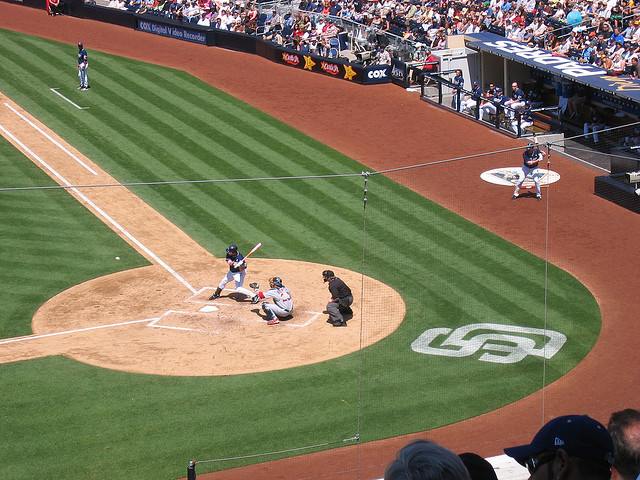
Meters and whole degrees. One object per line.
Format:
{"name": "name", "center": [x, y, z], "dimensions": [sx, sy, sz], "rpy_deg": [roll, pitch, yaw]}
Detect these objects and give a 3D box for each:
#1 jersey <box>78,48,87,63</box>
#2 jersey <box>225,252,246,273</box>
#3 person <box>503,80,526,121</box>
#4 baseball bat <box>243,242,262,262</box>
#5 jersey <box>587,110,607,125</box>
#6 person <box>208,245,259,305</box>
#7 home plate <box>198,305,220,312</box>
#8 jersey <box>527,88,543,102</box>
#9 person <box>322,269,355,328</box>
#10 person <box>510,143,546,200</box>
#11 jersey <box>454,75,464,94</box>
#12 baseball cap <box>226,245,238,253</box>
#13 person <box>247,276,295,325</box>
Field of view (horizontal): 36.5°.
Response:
{"name": "jersey", "center": [-8.474, -6.550, 34.558], "dimensions": [0.220, 0.493, 0.304], "rpy_deg": [10, 19, -5]}
{"name": "jersey", "center": [-2.029, 0.499, 23.138], "dimensions": [0.624, 0.141, 0.456], "rpy_deg": [-5, 28, -9]}
{"name": "person", "center": [6.518, -4.633, 32.328], "dimensions": [0.653, 1.158, 2.492], "rpy_deg": [15, 16, 10]}
{"name": "baseball bat", "center": [-1.766, 0.328, 25.141], "dimensions": [0.049, 0.982, 0.091], "rpy_deg": [52, 14, -52]}
{"name": "jersey", "center": [8.817, -3.888, 30.782], "dimensions": [0.657, 0.428, 0.421], "rpy_deg": [1, 8, 8]}
{"name": "person", "center": [-1.958, 0.775, 23.212], "dimensions": [1.147, 1.359, 0.882], "rpy_deg": [8, 19, -5]}
{"name": "home plate", "center": [-2.606, 1.612, 22.734], "dimensions": [0.329, 0.066, 0.365], "rpy_deg": [12, 16, 23]}
{"name": "jersey", "center": [7.415, -4.977, 33.382], "dimensions": [0.275, 0.242, 0.711], "rpy_deg": [10, -13, -16]}
{"name": "person", "center": [0.418, 1.398, 22.403], "dimensions": [0.716, 1.100, 0.886], "rpy_deg": [10, 18, -3]}
{"name": "person", "center": [4.869, -1.604, 22.170], "dimensions": [0.650, 1.194, 1.859], "rpy_deg": [15, 17, 10]}
{"name": "jersey", "center": [4.955, -5.440, 33.944], "dimensions": [0.473, 0.521, 0.679], "rpy_deg": [0, 6, -1]}
{"name": "baseball cap", "center": [-2.084, 0.202, 23.038], "dimensions": [0.235, 0.175, 0.333], "rpy_deg": [8, 16, -3]}
{"name": "person", "center": [-1.319, 1.348, 22.550], "dimensions": [1.301, 0.920, 0.966], "rpy_deg": [8, 10, -29]}
